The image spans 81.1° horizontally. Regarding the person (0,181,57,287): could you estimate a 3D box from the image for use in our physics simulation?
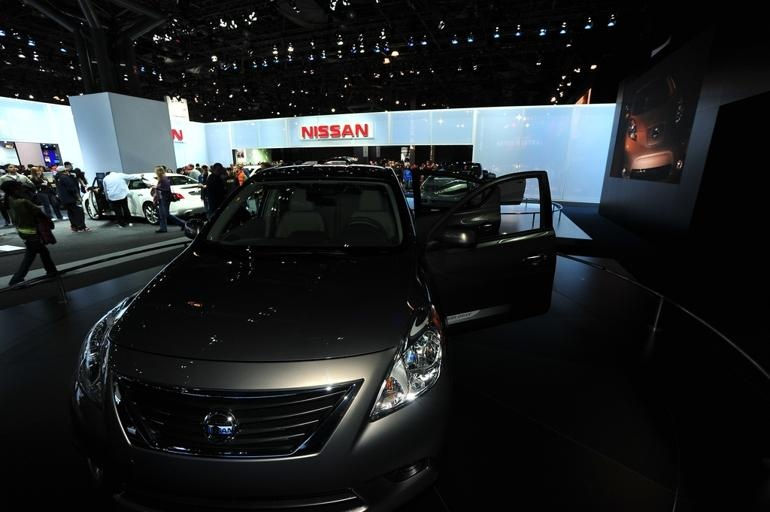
[{"bbox_3d":[-5.050,-0.344,6.361,0.740,1.449,0.570,6,17,30],"label":"person"}]
